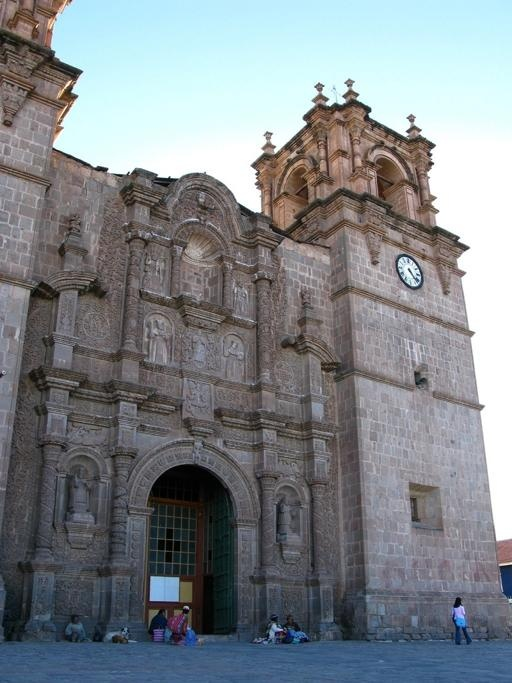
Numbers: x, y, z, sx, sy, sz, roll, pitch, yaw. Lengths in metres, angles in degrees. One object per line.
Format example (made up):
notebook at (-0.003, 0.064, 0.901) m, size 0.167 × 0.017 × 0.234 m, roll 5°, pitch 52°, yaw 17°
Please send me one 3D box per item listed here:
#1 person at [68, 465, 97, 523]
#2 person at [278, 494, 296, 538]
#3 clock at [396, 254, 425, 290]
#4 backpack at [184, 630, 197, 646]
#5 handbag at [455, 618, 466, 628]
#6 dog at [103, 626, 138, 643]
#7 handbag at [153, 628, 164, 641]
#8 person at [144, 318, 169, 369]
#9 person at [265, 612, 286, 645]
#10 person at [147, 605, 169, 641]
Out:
person at (-3.924, 3.449, 14.449) m, size 0.667 × 1.357 × 0.647 m, roll 11°, pitch -25°, yaw -28°
person at (0.807, 4.978, 18.117) m, size 0.363 × 1.111 × 0.596 m, roll -12°, pitch -24°, yaw 23°
clock at (5.761, -2.574, 24.035) m, size 1.381 × 1.265 × 0.085 m, roll 22°, pitch -33°, yaw -34°
backpack at (-1.348, 6.137, 13.248) m, size 0.231 × 0.310 × 0.659 m, roll 0°, pitch -20°, yaw -4°
handbag at (4.999, 6.903, 15.648) m, size 0.216 × 0.220 × 0.347 m, roll -4°, pitch -21°, yaw 7°
dog at (-2.813, 6.005, 13.118) m, size 0.453 × 0.257 × 0.556 m, roll 25°, pitch -26°, yaw -18°
handbag at (-2.124, 6.458, 14.011) m, size 0.217 × 0.192 × 0.205 m, roll -4°, pitch -37°, yaw 4°
person at (-2.679, -0.080, 17.445) m, size 0.756 × 1.462 × 0.190 m, roll 17°, pitch -29°, yaw -39°
person at (0.423, 6.821, 15.173) m, size 0.580 × 0.738 × 0.479 m, roll 5°, pitch -17°, yaw -16°
person at (-2.234, 6.433, 14.425) m, size 0.497 × 0.685 × 0.547 m, roll 21°, pitch -33°, yaw -40°
